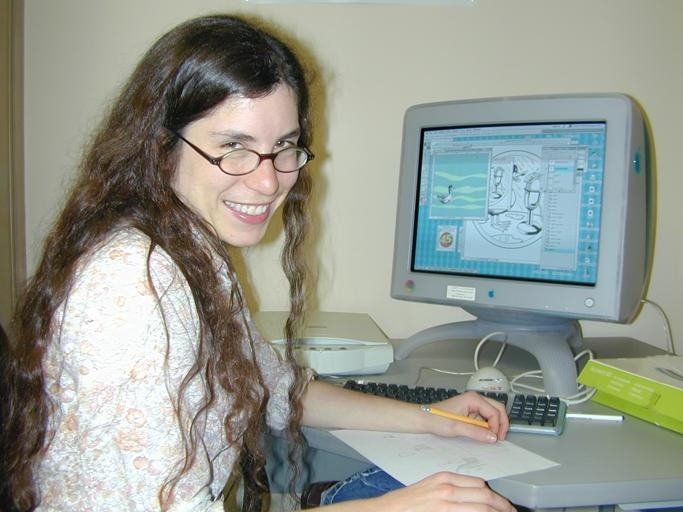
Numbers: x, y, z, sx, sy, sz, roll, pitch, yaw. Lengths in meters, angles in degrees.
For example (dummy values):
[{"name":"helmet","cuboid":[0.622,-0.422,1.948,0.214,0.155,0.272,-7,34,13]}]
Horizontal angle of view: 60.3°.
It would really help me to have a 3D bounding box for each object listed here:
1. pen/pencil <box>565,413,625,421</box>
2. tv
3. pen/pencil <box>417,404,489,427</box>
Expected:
[{"name":"pen/pencil","cuboid":[0.537,0.346,1.256,0.104,0.016,0.015,-1,-26,6]},{"name":"tv","cuboid":[0.418,-0.006,1.853,0.795,0.975,0.683,5,9,33]},{"name":"pen/pencil","cuboid":[0.230,0.330,1.201,0.092,0.013,0.014,17,51,14]}]
